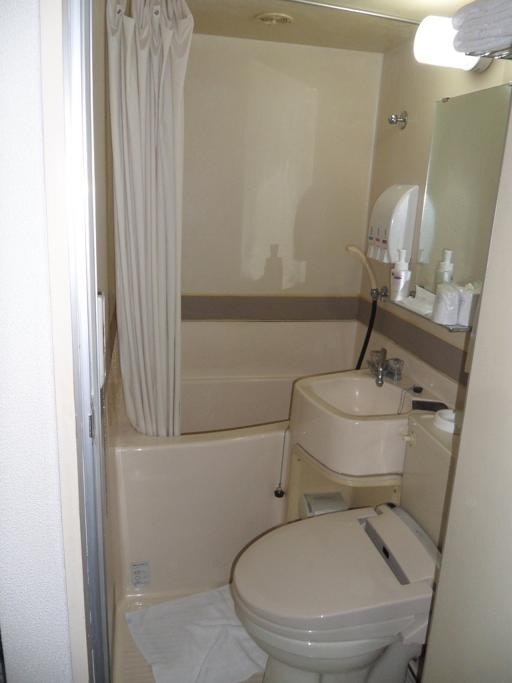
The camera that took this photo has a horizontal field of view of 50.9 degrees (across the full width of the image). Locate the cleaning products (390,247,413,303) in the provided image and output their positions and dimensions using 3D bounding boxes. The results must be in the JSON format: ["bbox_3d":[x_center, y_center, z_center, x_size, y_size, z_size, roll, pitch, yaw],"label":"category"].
[{"bbox_3d":[0.498,-0.236,1.863,0.064,0.175,0.180,4,12,17],"label":"cleaning products"}]

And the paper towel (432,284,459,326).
[{"bbox_3d":[0.546,-0.106,1.549,0.070,0.117,0.040,5,10,19],"label":"paper towel"}]

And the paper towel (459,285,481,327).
[{"bbox_3d":[0.561,-0.094,1.418,0.041,0.101,0.082,18,31,32],"label":"paper towel"}]

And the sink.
[{"bbox_3d":[0.331,0.261,1.670,0.254,0.186,0.353,-4,16,-9],"label":"sink"}]
